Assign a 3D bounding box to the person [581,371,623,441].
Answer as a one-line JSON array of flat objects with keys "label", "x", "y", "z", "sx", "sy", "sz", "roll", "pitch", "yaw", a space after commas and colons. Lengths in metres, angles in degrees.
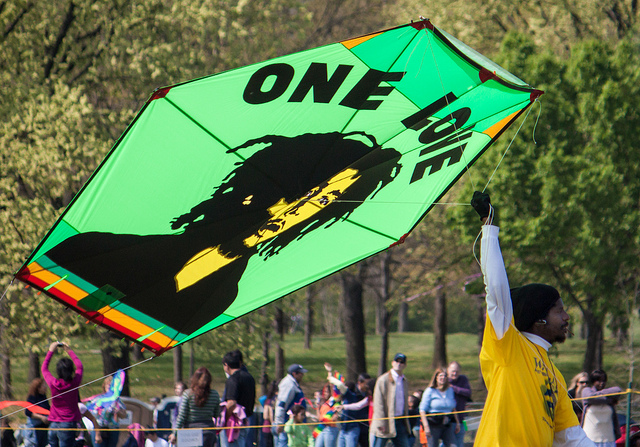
[{"label": "person", "x": 8.352, "y": 5.567, "z": 49.103, "sx": 1.079, "sy": 2.234, "sz": 1.024, "roll": -4, "pitch": 2, "yaw": -7}]
